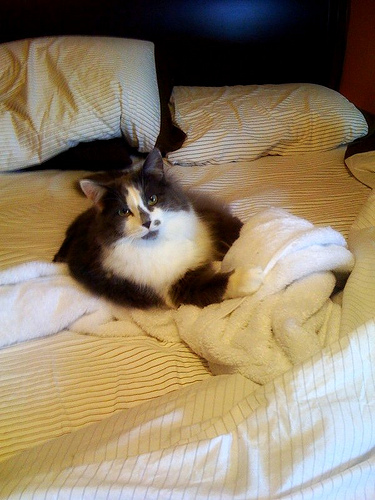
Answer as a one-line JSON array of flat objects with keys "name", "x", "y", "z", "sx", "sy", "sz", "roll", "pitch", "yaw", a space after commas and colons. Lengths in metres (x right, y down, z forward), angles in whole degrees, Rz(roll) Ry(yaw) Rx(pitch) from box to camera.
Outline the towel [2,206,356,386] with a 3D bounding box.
[{"name": "towel", "x": -0.061, "y": 0.135, "z": 1.276, "sx": 0.858, "sy": 0.198, "sz": 0.582, "roll": 5, "pitch": 34, "yaw": 15}]

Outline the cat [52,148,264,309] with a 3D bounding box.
[{"name": "cat", "x": -0.129, "y": -0.091, "z": 1.480, "sx": 0.520, "sy": 0.266, "sz": 0.637, "roll": -6, "pitch": 30, "yaw": -4}]
